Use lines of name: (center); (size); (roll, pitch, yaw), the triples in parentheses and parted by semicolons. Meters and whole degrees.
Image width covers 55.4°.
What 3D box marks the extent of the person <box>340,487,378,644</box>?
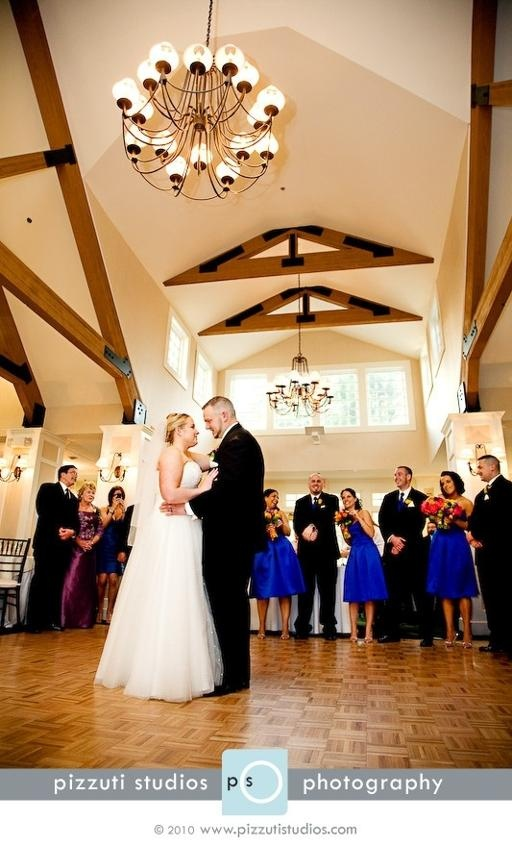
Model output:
person: (0.932, 1.272, 4.428); (0.310, 1.285, 0.999); (-3, -14, 10)

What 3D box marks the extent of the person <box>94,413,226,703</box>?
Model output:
person: (-0.413, 0.546, 2.256); (0.557, 1.274, 0.455); (4, -15, -17)

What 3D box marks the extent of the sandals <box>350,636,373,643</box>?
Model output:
sandals: (0.880, 1.815, 4.087); (0.180, 0.041, 0.271); (-3, -15, 11)

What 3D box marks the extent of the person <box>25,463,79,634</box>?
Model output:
person: (-1.928, 1.166, 4.691); (0.448, 1.539, 0.328); (13, -19, -43)

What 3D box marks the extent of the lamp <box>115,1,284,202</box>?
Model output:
lamp: (-0.553, -3.029, 4.494); (1.258, 2.580, 1.289); (6, -33, -11)

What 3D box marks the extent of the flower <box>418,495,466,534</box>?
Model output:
flower: (1.527, 0.723, 3.938); (0.392, 0.268, 0.281); (-2, -14, 5)

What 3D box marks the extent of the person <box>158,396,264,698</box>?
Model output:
person: (-0.213, 0.581, 2.442); (0.504, 1.389, 0.462); (-3, -11, 9)

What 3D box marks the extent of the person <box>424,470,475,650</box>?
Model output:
person: (1.558, 1.036, 3.936); (0.365, 1.252, 0.430); (6, -10, -9)

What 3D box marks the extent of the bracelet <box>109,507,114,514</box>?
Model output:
bracelet: (-1.711, 1.025, 5.756); (0.057, 0.055, 0.016); (1, -16, -36)

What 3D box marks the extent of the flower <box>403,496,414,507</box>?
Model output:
flower: (1.332, 0.686, 4.243); (0.017, 0.061, 0.065); (17, 7, -42)

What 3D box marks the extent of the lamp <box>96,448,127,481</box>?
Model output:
lamp: (-2.076, 0.594, 7.055); (0.440, 0.430, 0.238); (-3, -24, 20)

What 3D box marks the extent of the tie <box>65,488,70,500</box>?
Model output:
tie: (-1.871, 0.691, 4.834); (0.019, 0.083, 0.062); (1, -1, 21)

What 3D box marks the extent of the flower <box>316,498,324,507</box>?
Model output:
flower: (0.600, 0.753, 4.686); (0.059, 0.063, 0.015); (-4, -10, 42)
